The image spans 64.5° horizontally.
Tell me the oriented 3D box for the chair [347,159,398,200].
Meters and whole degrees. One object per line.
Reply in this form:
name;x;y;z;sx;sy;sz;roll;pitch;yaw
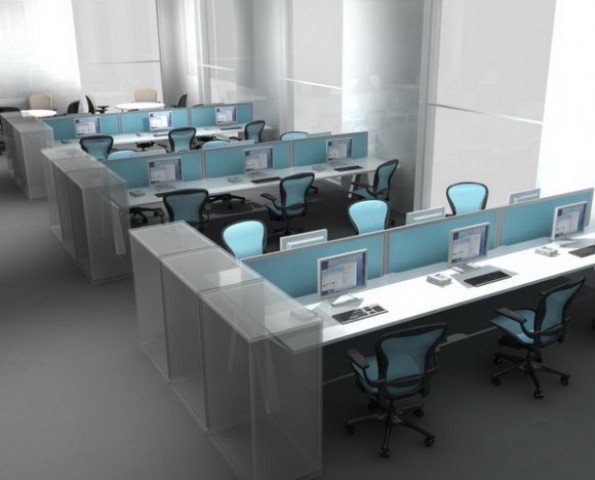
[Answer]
chair;1.159;-0.916;7.033;0.547;0.739;0.525;-24;46;-29

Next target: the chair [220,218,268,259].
chair;-0.485;-0.064;4.686;0.409;0.498;0.400;-13;31;-24

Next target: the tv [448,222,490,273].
tv;1.514;0.079;4.134;0.439;0.358;0.133;-14;25;-27

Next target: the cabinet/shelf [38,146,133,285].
cabinet/shelf;-2.558;-0.245;5.655;0.558;0.996;1.822;-13;25;-31

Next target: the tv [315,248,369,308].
tv;0.346;0.303;3.674;0.458;0.364;0.140;-10;22;-27

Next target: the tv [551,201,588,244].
tv;2.761;-0.166;4.740;0.471;0.294;0.059;-12;23;-26

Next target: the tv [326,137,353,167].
tv;0.650;-1.386;7.374;0.501;0.413;0.180;-13;28;-28

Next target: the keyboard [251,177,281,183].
keyboard;-0.449;-0.847;6.645;0.309;0.019;0.111;-13;29;-30

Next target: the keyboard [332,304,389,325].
keyboard;0.472;0.551;3.522;0.412;0.012;0.161;-10;22;-22

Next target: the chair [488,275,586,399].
chair;1.916;0.723;3.813;0.663;0.805;0.616;-3;8;-8

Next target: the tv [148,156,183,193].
tv;-1.820;-0.894;6.363;0.606;0.459;0.205;-12;27;-32

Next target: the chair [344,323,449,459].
chair;0.672;0.928;3.225;0.605;0.805;0.545;-3;11;-18

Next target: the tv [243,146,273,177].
tv;-0.589;-1.153;6.885;0.486;0.367;0.120;-11;24;-28
